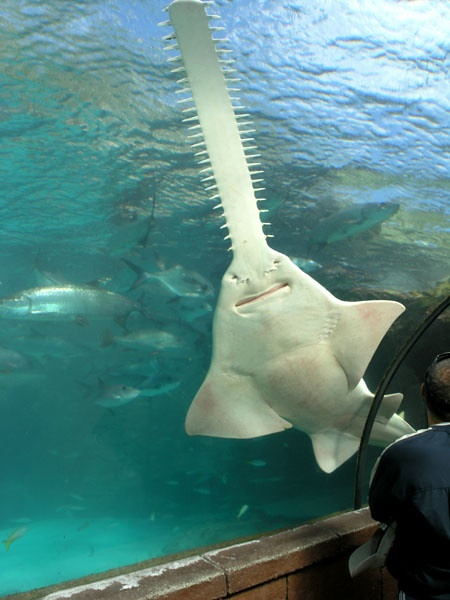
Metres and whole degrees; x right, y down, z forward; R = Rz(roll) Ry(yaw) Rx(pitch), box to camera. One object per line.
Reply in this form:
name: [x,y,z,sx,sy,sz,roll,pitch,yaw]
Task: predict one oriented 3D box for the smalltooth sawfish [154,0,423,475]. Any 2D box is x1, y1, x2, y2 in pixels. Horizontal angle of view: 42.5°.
smalltooth sawfish: [0.383,0.165,3.818,1.936,3.437,0.313,-17,40,-1]
